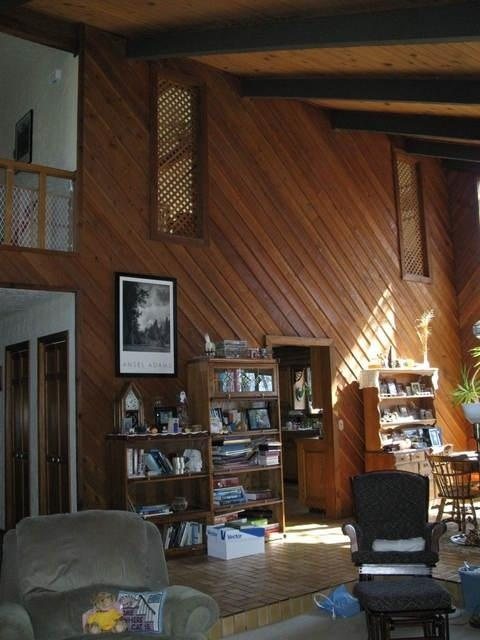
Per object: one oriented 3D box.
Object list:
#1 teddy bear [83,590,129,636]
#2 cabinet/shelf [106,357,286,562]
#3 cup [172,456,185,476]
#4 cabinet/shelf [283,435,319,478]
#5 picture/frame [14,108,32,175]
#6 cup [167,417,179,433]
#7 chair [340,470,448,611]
[{"bbox_3d":[-0.653,1.445,3.055,0.188,0.186,0.107,4,-10,-38],"label":"teddy bear"},{"bbox_3d":[-0.467,1.358,6.039,1.778,1.738,0.501,5,-11,-42],"label":"cabinet/shelf"},{"bbox_3d":[-0.589,1.418,6.049,0.141,0.164,0.139,-1,-1,0],"label":"cup"},{"bbox_3d":[1.068,2.446,10.777,0.380,0.703,0.410,20,-22,-11],"label":"cabinet/shelf"},{"bbox_3d":[-2.836,-2.330,8.217,0.033,0.648,0.614,1,-2,-39],"label":"picture/frame"},{"bbox_3d":[-0.639,1.041,6.085,0.111,0.134,0.140,1,-7,-8],"label":"cup"},{"bbox_3d":[1.077,1.554,4.465,0.693,0.837,0.704,-1,-10,0],"label":"chair"}]
